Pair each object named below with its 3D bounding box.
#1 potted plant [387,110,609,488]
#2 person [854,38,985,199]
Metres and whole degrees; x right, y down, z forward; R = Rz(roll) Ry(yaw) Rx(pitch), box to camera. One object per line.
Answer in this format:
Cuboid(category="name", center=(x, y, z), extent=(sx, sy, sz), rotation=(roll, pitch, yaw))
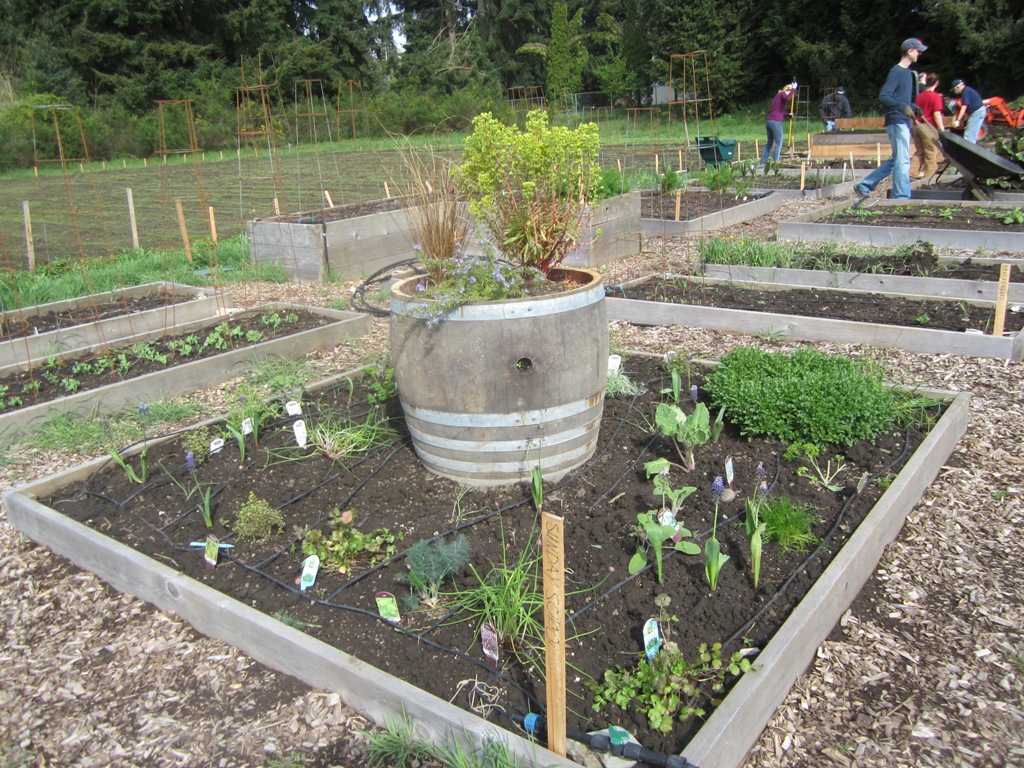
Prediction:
Cuboid(category="potted plant", center=(-0.102, -0.521, 4.272), extent=(1.073, 1.889, 1.137), rotation=(11, 22, 23))
Cuboid(category="person", center=(5.315, -3.603, 10.279), extent=(0.627, 2.133, 1.256), rotation=(11, 24, 37))
